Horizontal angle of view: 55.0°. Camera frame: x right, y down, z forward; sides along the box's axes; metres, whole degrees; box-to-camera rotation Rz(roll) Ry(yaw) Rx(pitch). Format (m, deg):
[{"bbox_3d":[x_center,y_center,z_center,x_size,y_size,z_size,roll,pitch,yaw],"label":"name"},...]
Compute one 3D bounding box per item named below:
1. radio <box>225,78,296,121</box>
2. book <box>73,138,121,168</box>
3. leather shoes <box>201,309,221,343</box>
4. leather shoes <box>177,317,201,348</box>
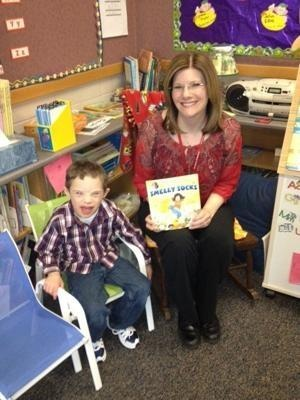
[{"bbox_3d":[0.761,-0.715,2.044,0.402,0.271,0.152,10,38,39],"label":"radio"},{"bbox_3d":[-0.381,-0.319,1.940,0.223,0.085,0.235,17,30,33],"label":"book"},{"bbox_3d":[0.274,0.548,1.265,0.055,0.055,0.130,-1,13,2],"label":"leather shoes"},{"bbox_3d":[0.165,0.561,1.215,0.060,0.061,0.134,-4,13,-11],"label":"leather shoes"}]
